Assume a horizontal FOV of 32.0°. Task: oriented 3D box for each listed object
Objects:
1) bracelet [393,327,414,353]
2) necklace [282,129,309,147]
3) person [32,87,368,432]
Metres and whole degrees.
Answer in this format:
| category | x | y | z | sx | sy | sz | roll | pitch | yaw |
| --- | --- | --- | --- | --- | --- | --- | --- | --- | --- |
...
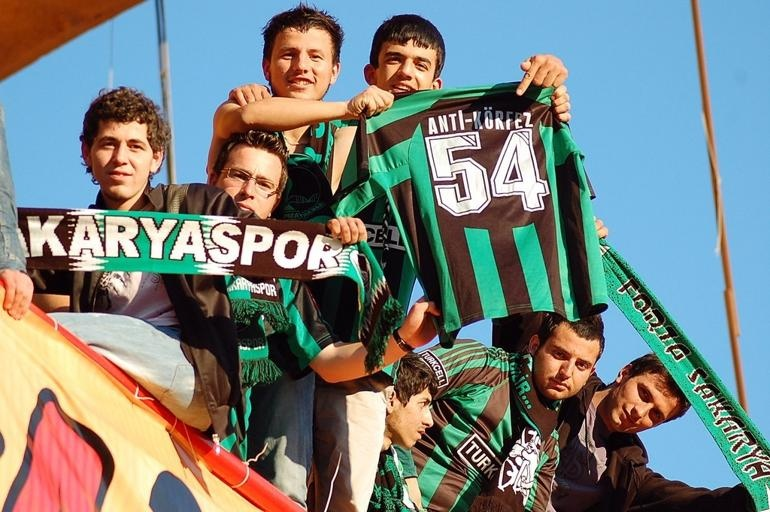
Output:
| category | x | y | z | sx | sy | sz | roll | pitch | yaw |
| --- | --- | --- | --- | --- | --- | --- | --- | --- | --- |
| bracelet | 0.121 | 0.540 | 8.804 | 0.050 | 0.140 | 0.126 | -40 | 10 | 7 |
| necklace | -0.625 | -0.858 | 9.663 | 0.123 | 0.113 | 0.152 | -1 | 0 | 6 |
| person | -1.569 | 0.001 | 8.475 | 1.379 | 2.199 | 0.774 | 1 | 1 | -8 |
